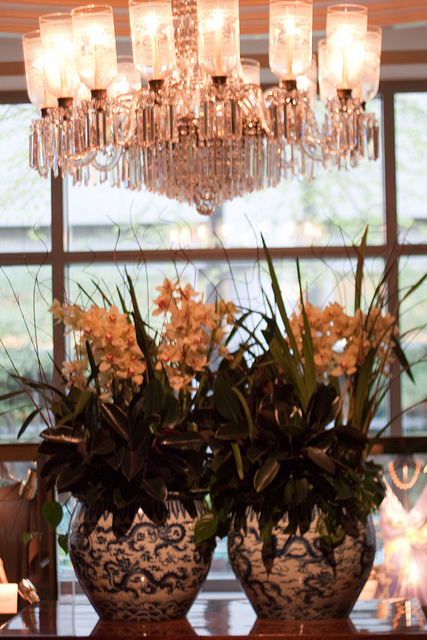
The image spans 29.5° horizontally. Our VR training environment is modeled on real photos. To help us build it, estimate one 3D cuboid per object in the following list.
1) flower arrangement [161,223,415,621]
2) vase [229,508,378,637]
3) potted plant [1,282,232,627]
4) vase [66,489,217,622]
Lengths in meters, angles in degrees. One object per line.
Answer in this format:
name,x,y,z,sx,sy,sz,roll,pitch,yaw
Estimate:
flower arrangement,0.132,0.164,1.116,0.192,0.434,0.226,-4,-5,43
vase,0.123,0.286,1.067,0.133,0.183,0.139,0,0,-28
potted plant,-0.117,0.188,1.210,0.300,0.639,0.392,0,-11,-3
vase,-0.099,0.303,1.135,0.177,0.193,0.201,-1,6,-1
